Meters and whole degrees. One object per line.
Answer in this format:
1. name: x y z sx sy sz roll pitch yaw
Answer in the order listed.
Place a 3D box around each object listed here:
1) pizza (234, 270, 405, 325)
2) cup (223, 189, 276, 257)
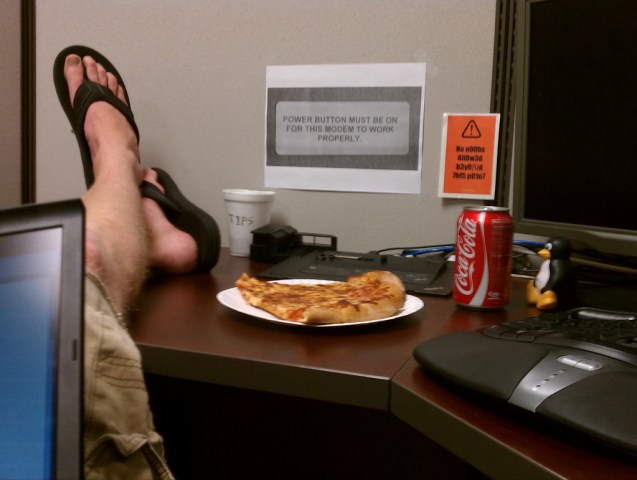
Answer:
1. pizza: 0.004 0.066 0.687 0.203 0.031 0.197 -4 15 -18
2. cup: -0.143 -0.038 1.085 0.129 0.129 0.126 4 9 -1
